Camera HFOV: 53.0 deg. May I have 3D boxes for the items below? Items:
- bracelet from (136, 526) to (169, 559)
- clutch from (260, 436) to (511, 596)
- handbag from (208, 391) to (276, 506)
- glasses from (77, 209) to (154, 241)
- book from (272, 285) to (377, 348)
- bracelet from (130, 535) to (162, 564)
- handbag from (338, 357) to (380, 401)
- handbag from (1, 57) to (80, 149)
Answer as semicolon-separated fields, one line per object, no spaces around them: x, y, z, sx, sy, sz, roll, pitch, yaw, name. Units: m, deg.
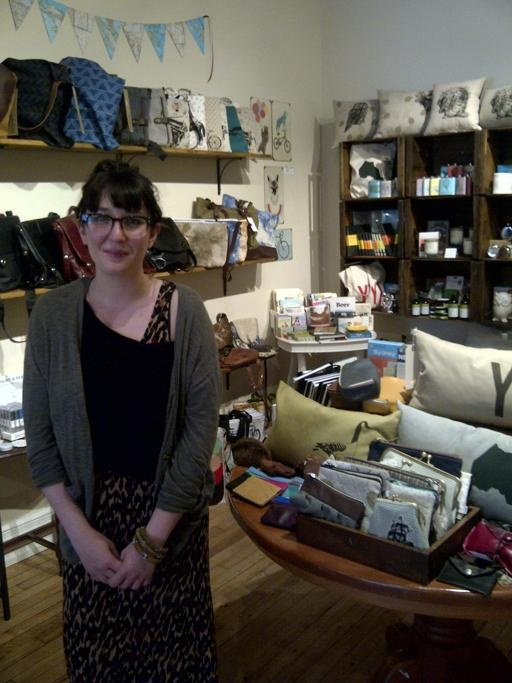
-0.203;0.389;0.979;0.057;0.037;0.056;28;4;-6;bracelet
0.316;0.409;1.350;0.614;0.215;0.362;2;8;39;clutch
-0.090;0.647;3.146;0.507;0.657;0.199;1;-2;-3;handbag
-0.261;-0.217;0.958;0.118;0.051;0.047;-4;6;-11;glasses
0.457;-0.174;3.912;0.537;0.317;0.523;-2;6;-17;book
-0.204;0.394;0.977;0.055;0.023;0.056;25;-10;35;bracelet
0.391;0.151;1.959;0.137;0.062;0.263;-5;20;10;handbag
-0.993;-1.096;2.362;0.447;0.415;0.218;5;19;-17;handbag
